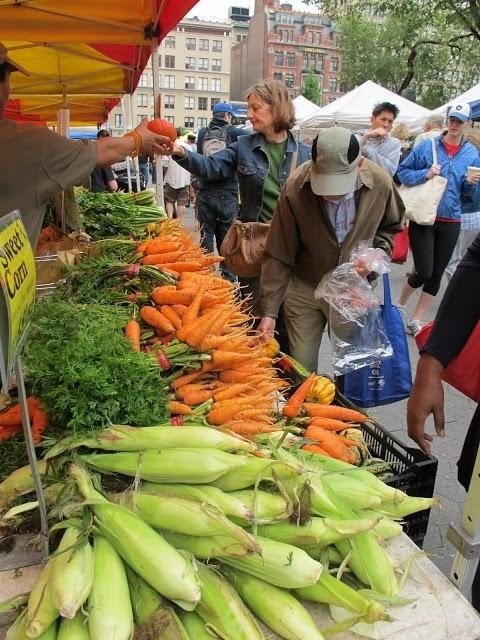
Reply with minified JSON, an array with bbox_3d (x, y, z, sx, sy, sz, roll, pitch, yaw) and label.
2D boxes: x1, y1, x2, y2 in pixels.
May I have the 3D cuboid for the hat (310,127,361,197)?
[{"bbox_3d":[0.508,-0.814,2.494,0.240,0.357,0.175,5,-17,20],"label":"hat"}]

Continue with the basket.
[{"bbox_3d":[0.541,0.506,2.043,0.410,0.237,0.737,-5,20,-25],"label":"basket"}]
